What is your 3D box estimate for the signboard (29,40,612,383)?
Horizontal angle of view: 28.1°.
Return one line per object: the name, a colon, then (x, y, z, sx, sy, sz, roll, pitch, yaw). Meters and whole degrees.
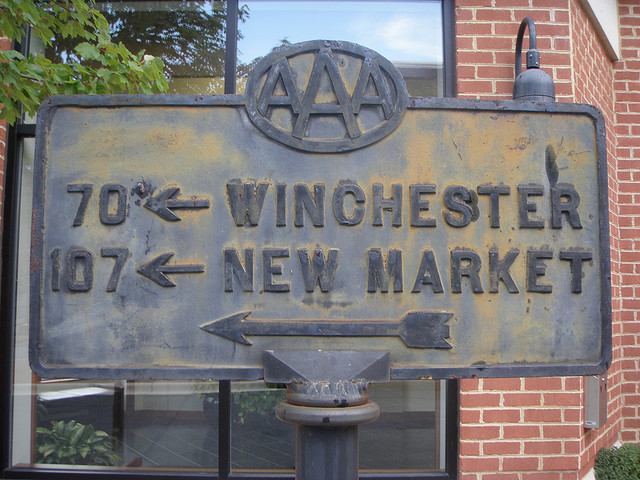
signboard: (0.033, -0.101, 9.410, 4.308, 2.420, 0.679, -1, 1, -7)
